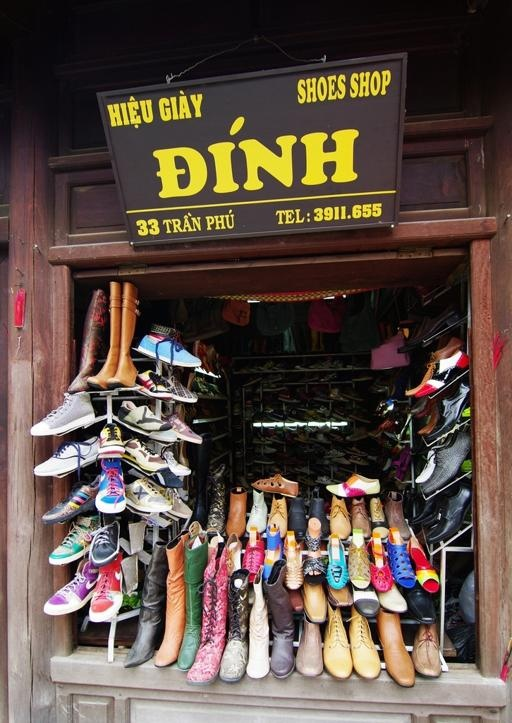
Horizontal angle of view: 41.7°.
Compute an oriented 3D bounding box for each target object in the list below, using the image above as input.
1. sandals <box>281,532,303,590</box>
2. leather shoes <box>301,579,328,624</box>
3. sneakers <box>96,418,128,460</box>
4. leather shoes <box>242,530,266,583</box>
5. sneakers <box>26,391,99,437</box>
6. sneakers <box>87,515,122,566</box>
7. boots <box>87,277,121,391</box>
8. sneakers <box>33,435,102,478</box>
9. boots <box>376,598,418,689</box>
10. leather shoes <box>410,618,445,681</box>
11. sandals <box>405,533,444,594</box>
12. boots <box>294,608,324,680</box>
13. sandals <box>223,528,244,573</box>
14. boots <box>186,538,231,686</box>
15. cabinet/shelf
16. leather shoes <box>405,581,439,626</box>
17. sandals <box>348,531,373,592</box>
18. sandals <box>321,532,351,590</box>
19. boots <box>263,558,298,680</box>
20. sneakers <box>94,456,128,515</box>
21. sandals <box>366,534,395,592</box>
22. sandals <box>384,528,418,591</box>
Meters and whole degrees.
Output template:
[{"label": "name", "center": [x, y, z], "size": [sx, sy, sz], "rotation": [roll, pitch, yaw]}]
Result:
[{"label": "sandals", "center": [0.180, 0.940, 3.174], "size": [0.075, 0.231, 0.062], "rotation": [-3, -44, 3]}, {"label": "leather shoes", "center": [0.265, 1.088, 3.096], "size": [0.079, 0.093, 0.240], "rotation": [0, 2, -2]}, {"label": "sneakers", "center": [-0.647, 0.351, 3.028], "size": [0.116, 0.178, 0.255], "rotation": [2, -11, -11]}, {"label": "leather shoes", "center": [-0.018, 0.933, 3.234], "size": [0.082, 0.242, 0.088], "rotation": [-1, -50, 2]}, {"label": "sneakers", "center": [-0.884, 0.240, 3.108], "size": [0.276, 0.201, 0.162], "rotation": [2, -11, -14]}, {"label": "sneakers", "center": [-0.647, 0.777, 2.868], "size": [0.084, 0.086, 0.237], "rotation": [-4, 5, -2]}, {"label": "boots", "center": [-0.702, -0.133, 3.124], "size": [0.134, 0.514, 0.141], "rotation": [0, -11, -3]}, {"label": "sneakers", "center": [-0.851, 0.439, 3.120], "size": [0.137, 0.150, 0.357], "rotation": [-2, 13, 45]}, {"label": "boots", "center": [0.611, 1.251, 2.948], "size": [0.162, 0.316, 0.154], "rotation": [-3, -12, 13]}, {"label": "leather shoes", "center": [0.740, 1.257, 2.925], "size": [0.122, 0.218, 0.094], "rotation": [-3, -12, 14]}, {"label": "sandals", "center": [0.780, 0.935, 3.141], "size": [0.103, 0.303, 0.076], "rotation": [-10, -46, -3]}, {"label": "boots", "center": [0.237, 1.260, 2.989], "size": [0.115, 0.226, 0.199], "rotation": [-1, -11, 6]}, {"label": "sandals", "center": [-0.108, 0.901, 3.198], "size": [0.062, 0.172, 0.041], "rotation": [0, -47, 1]}, {"label": "boots", "center": [-0.153, 1.108, 2.946], "size": [0.156, 0.514, 0.217], "rotation": [3, -46, 3]}, {"label": "cabinet/shelf", "center": [0.486, 0.562, 4.666], "size": [2.844, 2.718, 1.493], "rotation": [0, -24, 4]}, {"label": "leather shoes", "center": [0.742, 1.087, 3.001], "size": [0.078, 0.066, 0.217], "rotation": [-5, 2, -2]}, {"label": "sandals", "center": [0.481, 0.925, 3.115], "size": [0.082, 0.248, 0.073], "rotation": [-1, -38, 9]}, {"label": "sandals", "center": [0.375, 0.924, 3.124], "size": [0.097, 0.232, 0.063], "rotation": [-2, -39, 5]}, {"label": "boots", "center": [0.103, 1.141, 2.999], "size": [0.137, 0.491, 0.204], "rotation": [0, -11, 1]}, {"label": "sneakers", "center": [-0.610, 0.538, 2.871], "size": [0.100, 0.128, 0.319], "rotation": [1, 1, -8]}, {"label": "sandals", "center": [0.582, 0.923, 3.115], "size": [0.090, 0.250, 0.065], "rotation": [-3, -40, 3]}, {"label": "sandals", "center": [0.656, 0.908, 3.100], "size": [0.091, 0.296, 0.116], "rotation": [-9, -55, 6]}]
